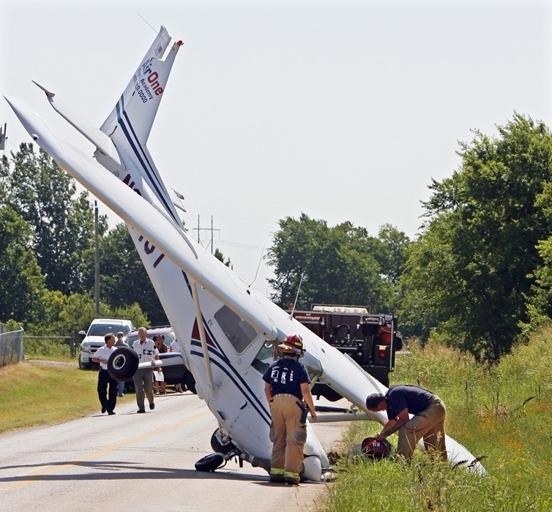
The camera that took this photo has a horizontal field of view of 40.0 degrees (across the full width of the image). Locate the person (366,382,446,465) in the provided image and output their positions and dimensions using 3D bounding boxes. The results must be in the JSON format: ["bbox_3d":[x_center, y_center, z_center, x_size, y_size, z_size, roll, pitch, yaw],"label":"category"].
[{"bbox_3d":[1.835,2.342,10.453,0.914,1.286,0.633,-17,8,-10],"label":"person"}]

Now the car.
[{"bbox_3d":[-4.176,3.001,21.782,1.881,1.891,3.565,-2,-22,19],"label":"car"}]

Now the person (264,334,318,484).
[{"bbox_3d":[0.158,2.034,9.976,0.673,1.941,0.423,-1,-6,9],"label":"person"}]

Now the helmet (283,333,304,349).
[{"bbox_3d":[0.240,1.165,10.121,0.209,0.122,0.145,27,-3,-40],"label":"helmet"}]

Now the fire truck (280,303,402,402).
[{"bbox_3d":[1.990,2.934,23.362,3.245,2.958,2.532,3,-3,-2],"label":"fire truck"}]
